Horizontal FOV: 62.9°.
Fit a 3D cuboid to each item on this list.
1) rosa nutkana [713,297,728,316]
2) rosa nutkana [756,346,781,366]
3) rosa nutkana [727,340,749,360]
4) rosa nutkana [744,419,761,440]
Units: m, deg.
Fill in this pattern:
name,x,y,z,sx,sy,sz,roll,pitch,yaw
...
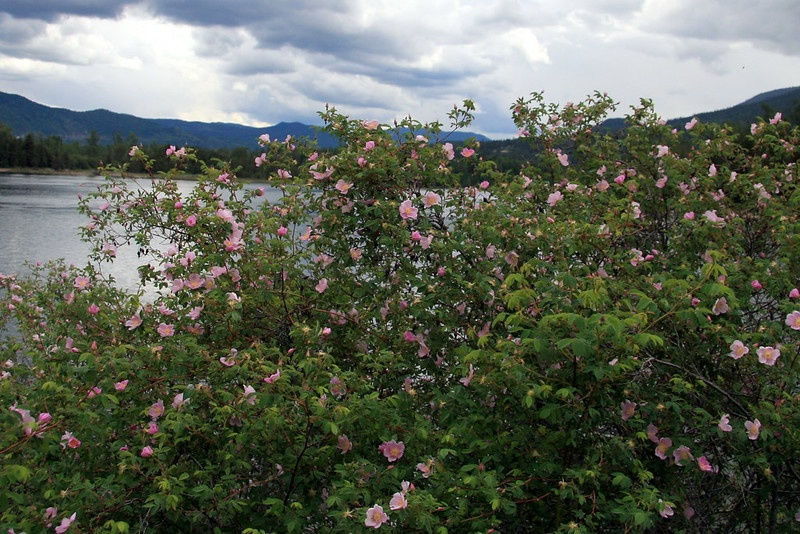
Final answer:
name,x,y,z,sx,sy,sz,roll,pitch,yaw
rosa nutkana,2.968,0.364,6.080,0.119,0.129,0.185,5,4,24
rosa nutkana,3.335,0.811,5.947,0.295,0.141,0.150,0,5,-39
rosa nutkana,3.009,0.746,5.868,0.153,0.135,0.179,3,4,0
rosa nutkana,3.133,1.449,5.841,0.150,0.177,0.077,-12,-5,43
